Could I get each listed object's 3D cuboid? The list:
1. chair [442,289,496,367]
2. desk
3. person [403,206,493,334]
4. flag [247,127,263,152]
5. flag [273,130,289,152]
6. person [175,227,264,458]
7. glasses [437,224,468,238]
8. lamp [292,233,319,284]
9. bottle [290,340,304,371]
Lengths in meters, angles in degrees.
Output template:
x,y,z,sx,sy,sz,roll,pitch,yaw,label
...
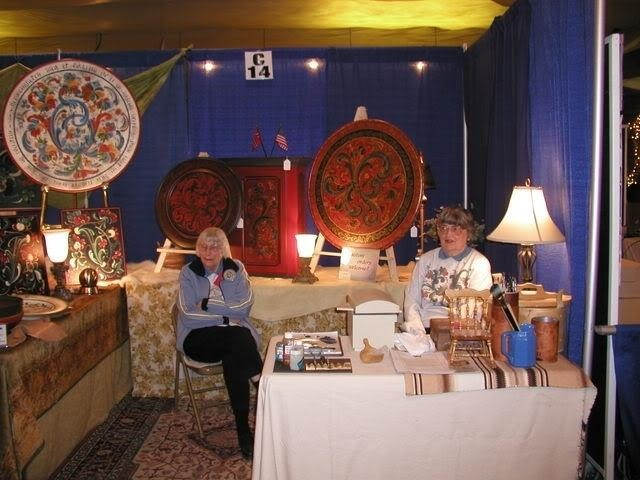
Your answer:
x,y,z,sx,sy,sz,roll,pitch,yaw,label
0.818,0.482,3.023,0.321,0.501,0.343,-1,0,5,chair
-0.636,-0.211,4.703,0.953,1.383,0.500,0,1,6,desk
0.851,0.231,3.684,0.565,0.923,0.620,7,8,33,person
-0.628,-0.996,5.347,0.139,0.226,0.357,-1,12,-8,flag
-0.382,-0.970,5.327,0.146,0.207,0.376,-1,12,-5,flag
-0.704,0.683,4.074,0.575,1.443,0.945,-8,14,-37,person
0.924,-0.063,3.701,0.215,0.104,0.085,1,11,1,glasses
-0.134,0.163,4.641,0.320,0.527,0.339,1,-1,-7,lamp
-0.129,0.626,2.960,0.096,0.201,0.117,1,4,6,bottle
